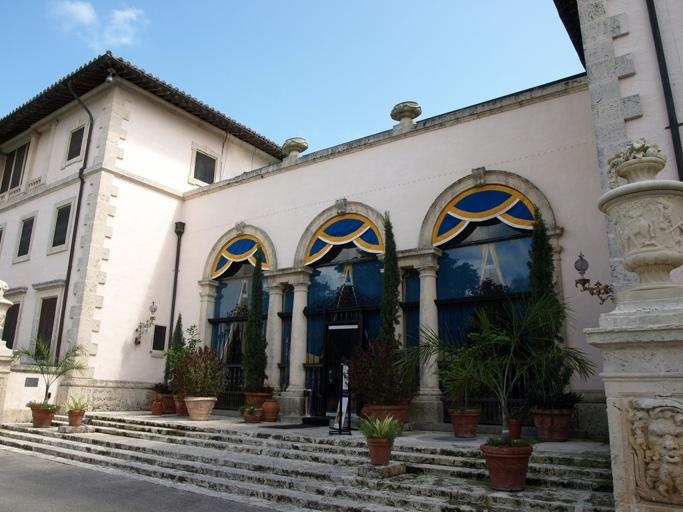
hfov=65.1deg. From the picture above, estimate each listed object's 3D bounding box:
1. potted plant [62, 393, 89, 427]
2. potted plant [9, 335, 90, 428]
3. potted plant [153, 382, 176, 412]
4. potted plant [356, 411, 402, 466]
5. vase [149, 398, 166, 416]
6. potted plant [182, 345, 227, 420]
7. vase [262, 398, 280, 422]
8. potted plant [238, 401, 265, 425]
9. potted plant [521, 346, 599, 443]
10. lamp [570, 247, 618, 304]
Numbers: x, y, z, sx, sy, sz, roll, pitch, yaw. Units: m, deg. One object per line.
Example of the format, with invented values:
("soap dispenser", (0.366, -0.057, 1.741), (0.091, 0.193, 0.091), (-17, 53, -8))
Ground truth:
("potted plant", (-6.175, 3.673, 12.525), (0.452, 0.575, 0.475), (-13, -27, 38))
("potted plant", (-7.683, 3.423, 14.659), (2.263, 2.412, 1.755), (19, -32, -41))
("potted plant", (-5.070, 4.053, 15.331), (0.732, 0.572, 0.754), (1, -24, -4))
("potted plant", (0.592, 2.872, 8.395), (0.582, 0.732, 0.579), (1, -17, -5))
("vase", (-5.094, 4.153, 14.781), (0.424, 0.509, 0.492), (6, -16, -36))
("potted plant", (-3.640, 3.238, 13.794), (0.993, 1.895, 1.016), (-5, -17, 14))
("vase", (-1.774, 3.865, 13.386), (0.447, 0.514, 0.440), (-11, -19, 23))
("potted plant", (-2.237, 3.853, 13.147), (0.457, 0.302, 0.452), (20, -31, -41))
("potted plant", (3.960, 2.506, 9.896), (1.619, 2.258, 1.833), (-1, -13, 25))
("lamp", (4.840, 0.396, 10.179), (1.035, 1.519, 0.362), (-1, -3, 33))
